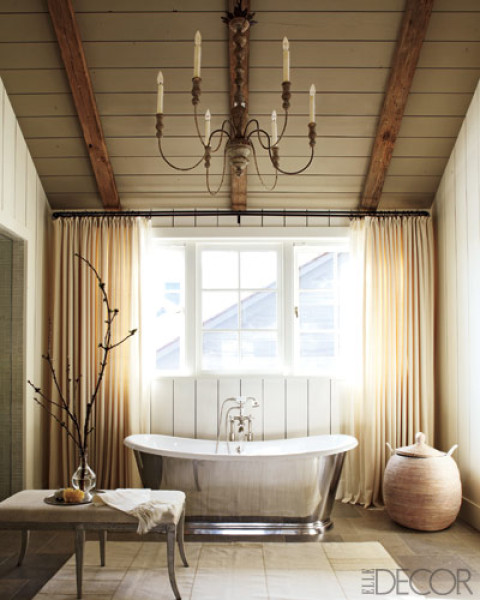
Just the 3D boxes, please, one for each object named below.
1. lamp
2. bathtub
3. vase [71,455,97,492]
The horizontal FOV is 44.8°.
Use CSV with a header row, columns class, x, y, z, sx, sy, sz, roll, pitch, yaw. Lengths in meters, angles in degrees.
class,x,y,z,sx,sy,sz,roll,pitch,yaw
lamp,-0.020,-1.216,3.385,0.766,1.225,0.757,5,-10,-30
bathtub,0.037,1.144,3.706,1.383,0.491,0.607,-1,-4,3
vase,-0.804,0.915,3.004,0.106,0.174,0.234,1,-4,-17
